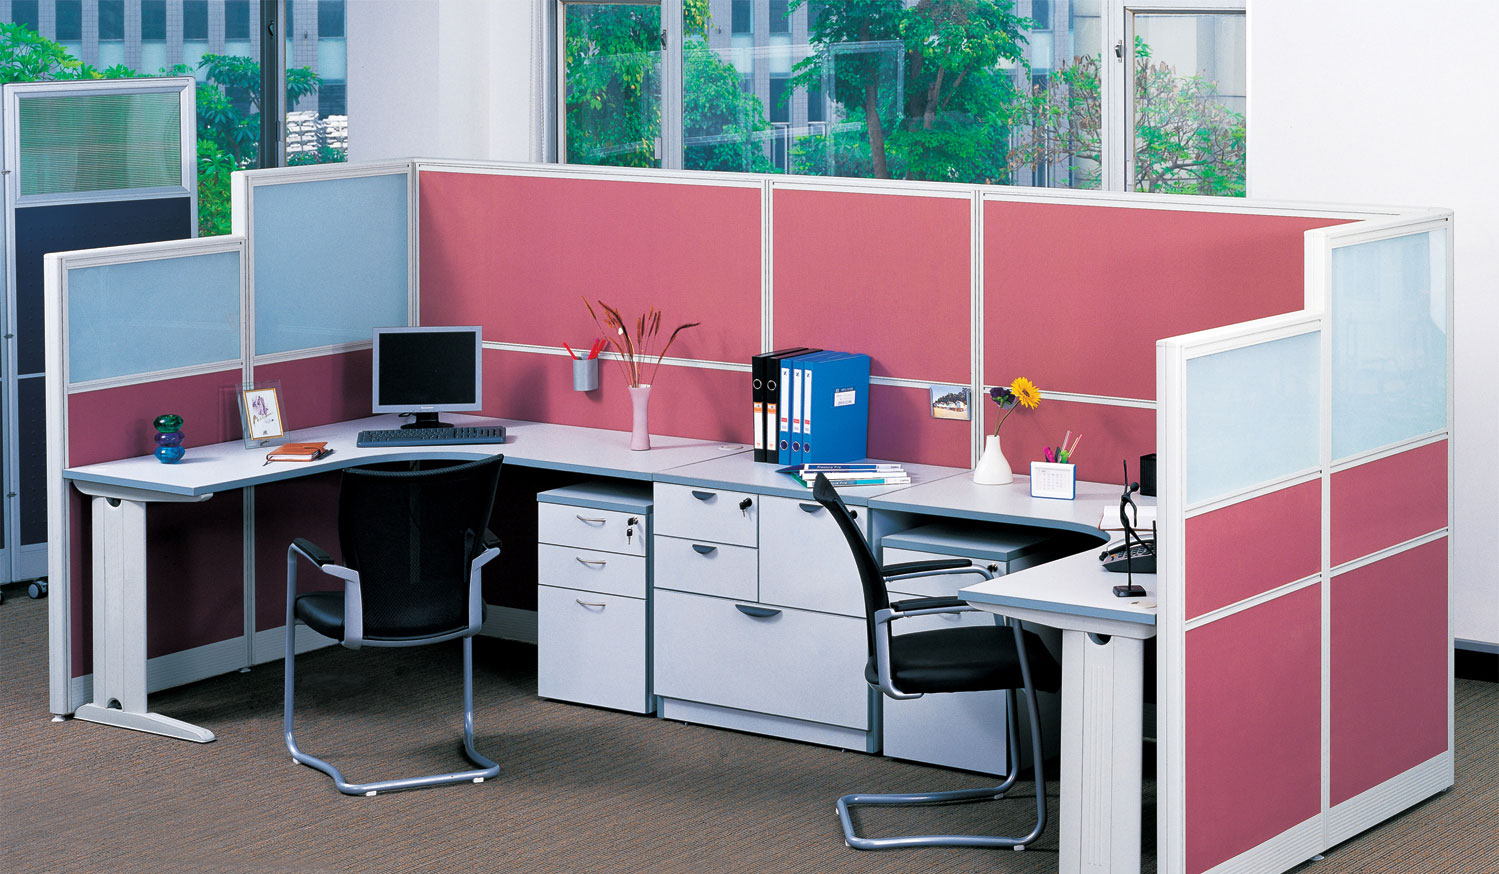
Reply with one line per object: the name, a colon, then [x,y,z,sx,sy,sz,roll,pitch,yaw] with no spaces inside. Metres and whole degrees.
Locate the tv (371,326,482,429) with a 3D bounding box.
tv: [-1.512,-0.289,6.817,0.583,0.466,0.178,0,1,18]

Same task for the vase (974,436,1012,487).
vase: [1.021,0.114,6.129,0.213,0.198,0.197,1,0,16]

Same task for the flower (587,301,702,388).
flower: [-0.454,-0.420,6.767,0.548,0.353,0.506,3,15,-37]

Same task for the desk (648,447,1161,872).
desk: [0.848,0.823,5.365,1.172,1.371,0.966,3,12,15]

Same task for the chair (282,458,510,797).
chair: [-1.413,0.724,5.849,0.839,1.199,0.768,-1,0,-32]

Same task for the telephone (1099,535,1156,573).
telephone: [1.322,0.418,5.052,0.163,0.060,0.114,1,5,12]
